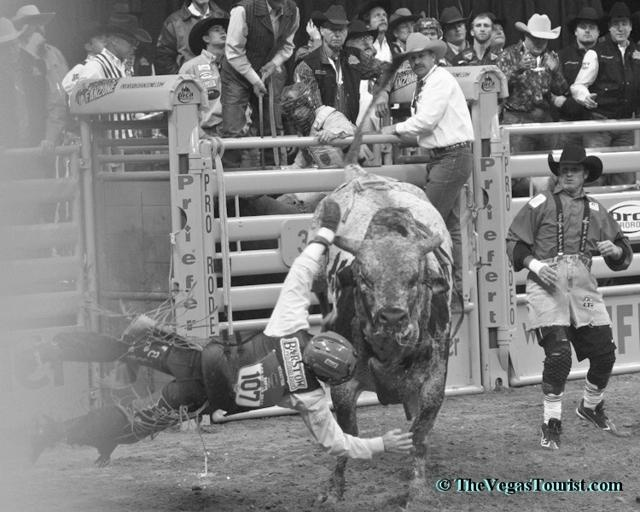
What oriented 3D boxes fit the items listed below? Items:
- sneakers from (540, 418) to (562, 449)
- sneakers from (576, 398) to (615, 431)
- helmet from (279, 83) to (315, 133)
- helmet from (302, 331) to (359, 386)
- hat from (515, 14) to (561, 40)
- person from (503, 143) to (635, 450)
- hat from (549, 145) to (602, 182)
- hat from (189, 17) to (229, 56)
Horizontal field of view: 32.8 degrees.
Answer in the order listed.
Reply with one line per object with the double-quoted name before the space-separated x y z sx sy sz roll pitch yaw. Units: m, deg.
"sneakers" 1.816 1.412 8.555 0.111 0.117 0.300 12 -22 13
"sneakers" 2.265 1.312 8.971 0.130 0.154 0.364 -6 22 -40
"helmet" -0.198 -1.337 9.858 0.329 0.482 0.331 0 10 2
"helmet" 0.015 0.638 6.894 0.365 0.247 0.297 21 -18 3
"hat" 2.345 -2.426 11.622 0.487 0.210 0.532 8 6 -4
"person" 2.031 0.273 8.742 0.922 2.313 0.665 -4 11 -17
"hat" 2.066 -0.753 8.829 0.390 0.323 0.448 0 10 0
"hat" -1.155 -2.245 11.025 0.470 0.397 0.310 2 11 11
